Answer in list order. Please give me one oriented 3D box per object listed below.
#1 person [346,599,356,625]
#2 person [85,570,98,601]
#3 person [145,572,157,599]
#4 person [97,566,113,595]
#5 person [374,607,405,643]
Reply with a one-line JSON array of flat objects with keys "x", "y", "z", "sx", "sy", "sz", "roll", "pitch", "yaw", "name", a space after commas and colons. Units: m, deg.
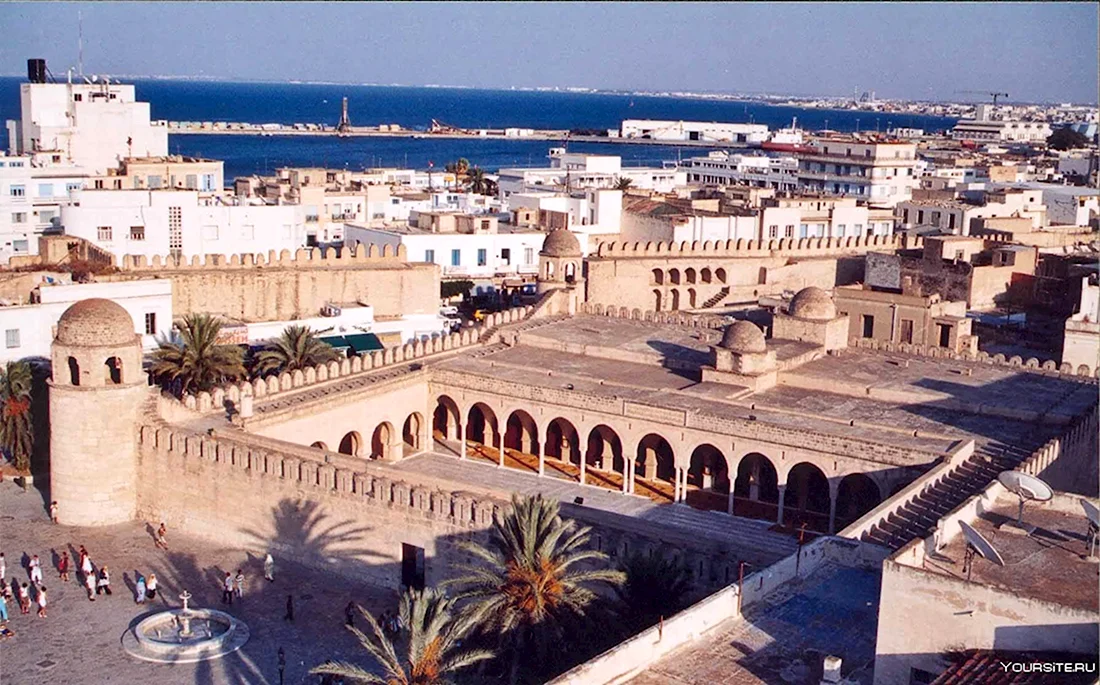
[{"x": -6.765, "y": 9.048, "z": 41.249, "sx": 0.372, "sy": 0.665, "sz": 1.149, "roll": -1, "pitch": 11, "yaw": -10, "name": "person"}, {"x": -15.805, "y": 8.320, "z": 42.057, "sx": 0.352, "sy": 0.796, "sz": 0.910, "roll": -4, "pitch": 12, "yaw": -20, "name": "person"}, {"x": -13.786, "y": 8.297, "z": 42.181, "sx": 0.349, "sy": 0.786, "sz": 1.065, "roll": -3, "pitch": 12, "yaw": -17, "name": "person"}, {"x": -15.532, "y": 8.162, "z": 42.499, "sx": 0.449, "sy": 0.815, "sz": 1.280, "roll": -4, "pitch": 12, "yaw": -21, "name": "person"}, {"x": -5.380, "y": 9.352, "z": 40.926, "sx": 0.514, "sy": 0.722, "sz": 1.703, "roll": -19, "pitch": 33, "yaw": -13, "name": "person"}]
